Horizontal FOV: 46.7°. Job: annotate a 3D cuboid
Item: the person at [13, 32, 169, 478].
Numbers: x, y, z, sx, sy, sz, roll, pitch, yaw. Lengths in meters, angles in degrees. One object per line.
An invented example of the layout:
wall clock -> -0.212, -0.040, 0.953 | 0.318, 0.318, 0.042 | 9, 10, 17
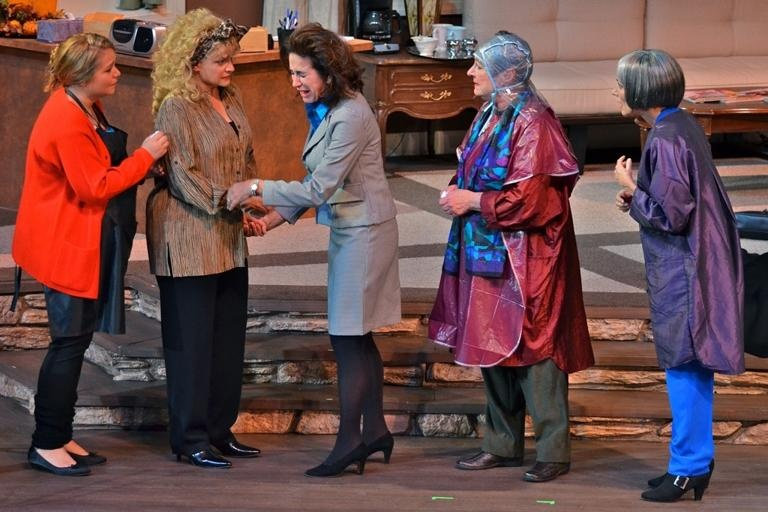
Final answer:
person -> -1.322, 0.011, 3.958 | 0.691, 1.956, 0.315 | -4, 10, -14

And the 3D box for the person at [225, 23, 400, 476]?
person -> -0.249, 0.002, 3.915 | 0.621, 1.981, 0.283 | -2, 10, 0

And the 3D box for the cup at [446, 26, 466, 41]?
cup -> 0.591, -1.812, 7.277 | 0.163, 0.103, 0.122 | 2, 16, 12

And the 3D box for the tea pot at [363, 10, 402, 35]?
tea pot -> 0.009, -1.908, 7.365 | 0.327, 0.193, 0.221 | 3, 6, -15

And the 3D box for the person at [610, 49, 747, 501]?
person -> 1.243, 0.095, 3.739 | 0.527, 1.881, 0.314 | 1, 10, 16

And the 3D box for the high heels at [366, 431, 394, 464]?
high heels -> -0.019, 0.864, 4.141 | 0.119, 0.064, 0.224 | 1, 18, -2

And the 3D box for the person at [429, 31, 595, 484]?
person -> 0.552, 0.017, 3.894 | 0.725, 1.947, 0.308 | 0, 10, 10

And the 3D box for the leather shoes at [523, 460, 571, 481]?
leather shoes -> 0.724, 0.948, 4.000 | 0.223, 0.091, 0.081 | -3, 10, -20

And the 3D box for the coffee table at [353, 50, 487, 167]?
coffee table -> 0.299, -1.223, 7.379 | 1.030, 0.807, 0.733 | -7, 15, -22

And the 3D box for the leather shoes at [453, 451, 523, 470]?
leather shoes -> 0.478, 0.937, 4.083 | 0.307, 0.110, 0.103 | 2, -2, -3

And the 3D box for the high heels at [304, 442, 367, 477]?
high heels -> -0.185, 0.916, 4.098 | 0.368, 0.153, 0.115 | -5, 7, 0

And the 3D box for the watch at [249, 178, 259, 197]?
watch -> -0.564, -0.294, 3.836 | 0.046, 0.058, 0.063 | 2, 0, -5

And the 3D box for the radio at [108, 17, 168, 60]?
radio -> -1.552, -1.363, 5.668 | 0.368, 0.193, 0.251 | 14, 12, 18

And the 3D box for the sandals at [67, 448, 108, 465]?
sandals -> -1.382, 0.924, 4.135 | 0.179, 0.041, 0.059 | 4, 7, -1

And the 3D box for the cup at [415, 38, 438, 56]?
cup -> 0.333, -1.669, 7.118 | 0.152, 0.100, 0.164 | -1, 6, 0

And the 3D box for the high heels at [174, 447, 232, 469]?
high heels -> -0.872, 0.926, 4.138 | 0.300, 0.091, 0.102 | 1, 2, 8

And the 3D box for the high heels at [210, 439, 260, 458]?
high heels -> -0.707, 0.910, 4.270 | 0.245, 0.075, 0.082 | 2, 0, -1
